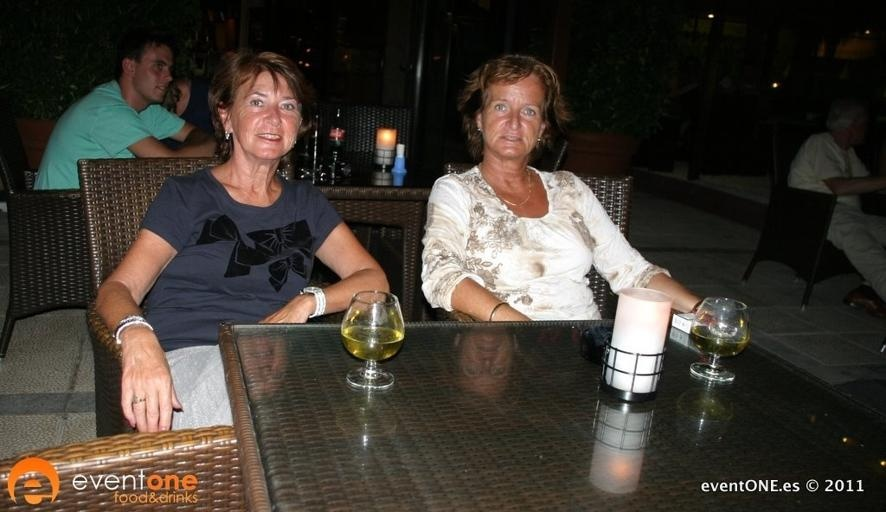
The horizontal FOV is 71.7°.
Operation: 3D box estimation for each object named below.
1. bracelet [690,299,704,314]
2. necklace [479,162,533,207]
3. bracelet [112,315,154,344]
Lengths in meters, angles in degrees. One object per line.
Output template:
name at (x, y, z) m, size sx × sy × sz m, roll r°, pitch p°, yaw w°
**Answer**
bracelet at (1.083, 0.213, 2.601) m, size 0.064 × 0.064 × 0.079 m, roll 0°, pitch 21°, yaw 24°
necklace at (0.330, -0.338, 3.082) m, size 0.206 × 0.256 × 0.082 m, roll -30°, pitch 2°, yaw -23°
bracelet at (-1.208, 0.269, 2.379) m, size 0.121 × 0.116 × 0.049 m, roll 4°, pitch 14°, yaw -20°
